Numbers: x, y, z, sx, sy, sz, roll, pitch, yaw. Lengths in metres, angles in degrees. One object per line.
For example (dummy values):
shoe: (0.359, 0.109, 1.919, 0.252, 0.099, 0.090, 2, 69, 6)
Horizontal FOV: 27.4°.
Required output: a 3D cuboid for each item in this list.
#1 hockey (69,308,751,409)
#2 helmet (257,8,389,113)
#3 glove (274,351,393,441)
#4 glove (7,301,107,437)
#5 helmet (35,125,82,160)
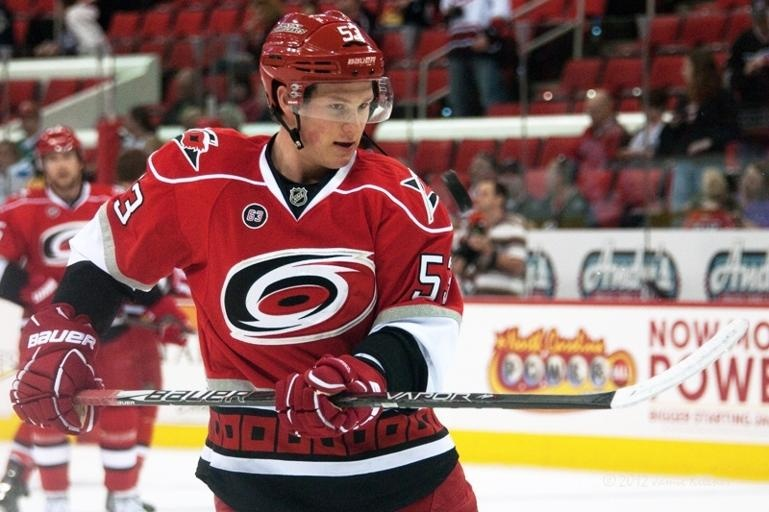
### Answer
hockey: (0.158, 0.544, 7.056, 2.930, 0.388, 0.302, -3, 4, 3)
helmet: (-0.295, -0.892, 7.189, 0.531, 0.466, 0.412, -5, -5, 33)
glove: (-0.215, 0.624, 6.966, 0.471, 0.204, 0.328, -6, -24, 19)
glove: (-1.518, 0.526, 7.249, 0.474, 0.551, 0.242, 13, -15, -29)
helmet: (-1.916, -0.644, 9.225, 0.168, 0.175, 0.220, 2, -24, -13)
